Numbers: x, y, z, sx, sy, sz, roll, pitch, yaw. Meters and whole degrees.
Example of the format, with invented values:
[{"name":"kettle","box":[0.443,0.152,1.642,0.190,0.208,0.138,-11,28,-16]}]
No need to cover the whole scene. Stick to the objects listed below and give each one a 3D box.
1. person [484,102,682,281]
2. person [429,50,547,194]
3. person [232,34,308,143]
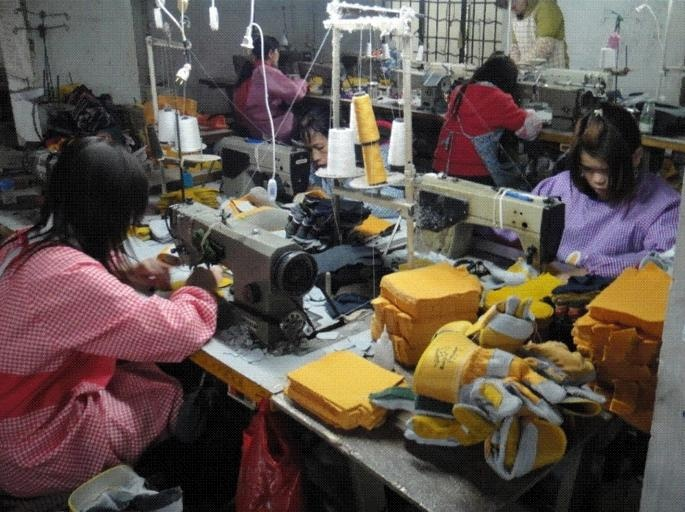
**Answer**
[{"name":"person","box":[1.239,-0.352,2.660,0.621,0.819,1.031,-28,33,-20]},{"name":"person","box":[1.184,-1.056,4.328,0.801,1.081,0.722,8,30,26]},{"name":"person","box":[-0.709,-1.578,4.850,0.542,0.998,1.086,1,16,3]}]
